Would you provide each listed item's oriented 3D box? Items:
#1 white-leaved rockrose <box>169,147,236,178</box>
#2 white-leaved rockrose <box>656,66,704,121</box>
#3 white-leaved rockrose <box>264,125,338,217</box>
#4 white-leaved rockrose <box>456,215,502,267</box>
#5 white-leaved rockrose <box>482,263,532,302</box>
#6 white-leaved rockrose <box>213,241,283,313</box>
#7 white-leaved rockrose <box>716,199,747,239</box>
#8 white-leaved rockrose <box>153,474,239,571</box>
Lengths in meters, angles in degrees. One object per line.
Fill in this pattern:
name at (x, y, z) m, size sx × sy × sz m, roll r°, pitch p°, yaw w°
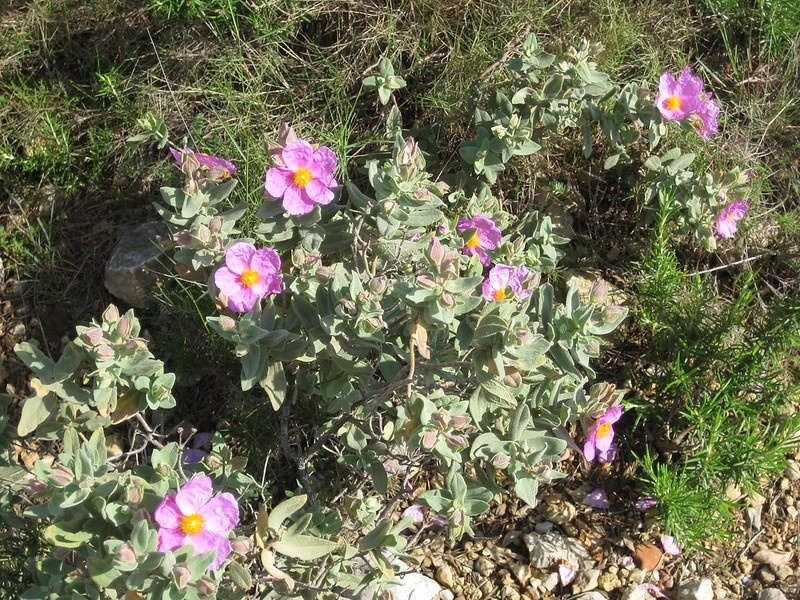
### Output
white-leaved rockrose at (-1.012, -0.728, 3.661) m, size 0.271 × 0.217 × 0.093 m, roll 19°, pitch 93°, yaw 33°
white-leaved rockrose at (1.515, -1.139, 3.906) m, size 0.262 × 0.217 × 0.227 m, roll -11°, pitch 58°, yaw -15°
white-leaved rockrose at (-0.469, -0.588, 3.415) m, size 0.334 × 0.311 × 0.301 m, roll 12°, pitch 55°, yaw 1°
white-leaved rockrose at (0.432, -0.348, 3.878) m, size 0.199 × 0.106 × 0.290 m, roll 12°, pitch 87°, yaw -9°
white-leaved rockrose at (0.488, -0.087, 3.352) m, size 0.164 × 0.075 × 0.189 m, roll 18°, pitch 81°, yaw 41°
white-leaved rockrose at (-0.733, -0.127, 3.377) m, size 0.305 × 0.179 × 0.231 m, roll -19°, pitch 61°, yaw -19°
white-leaved rockrose at (1.897, -0.508, 4.068) m, size 0.140 × 0.160 × 0.068 m, roll 35°, pitch 103°, yaw 11°
white-leaved rockrose at (-0.865, 0.950, 3.008) m, size 0.333 × 0.319 × 0.301 m, roll 12°, pitch 55°, yaw 1°
